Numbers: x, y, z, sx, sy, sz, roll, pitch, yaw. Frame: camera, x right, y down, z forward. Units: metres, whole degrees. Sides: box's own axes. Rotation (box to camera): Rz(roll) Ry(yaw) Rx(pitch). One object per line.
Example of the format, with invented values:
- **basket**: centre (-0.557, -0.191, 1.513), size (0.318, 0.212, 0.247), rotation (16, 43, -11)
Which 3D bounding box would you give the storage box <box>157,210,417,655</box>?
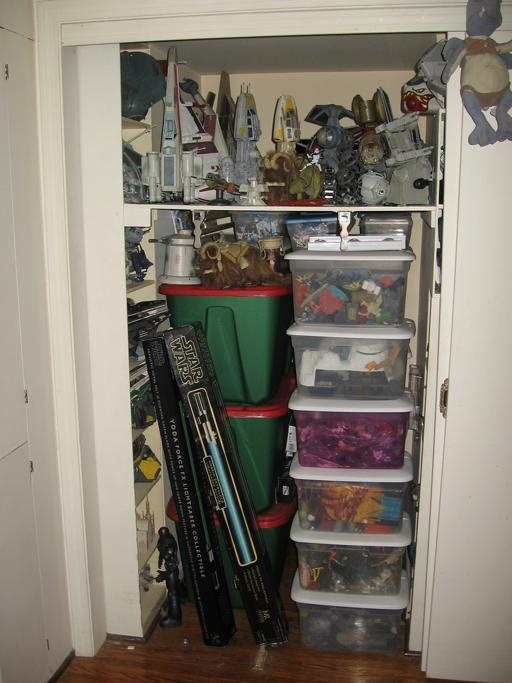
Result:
- **storage box**: centre (0.285, 0.102, 3.019), size (1.016, 2.690, 0.925), rotation (0, 5, 10)
